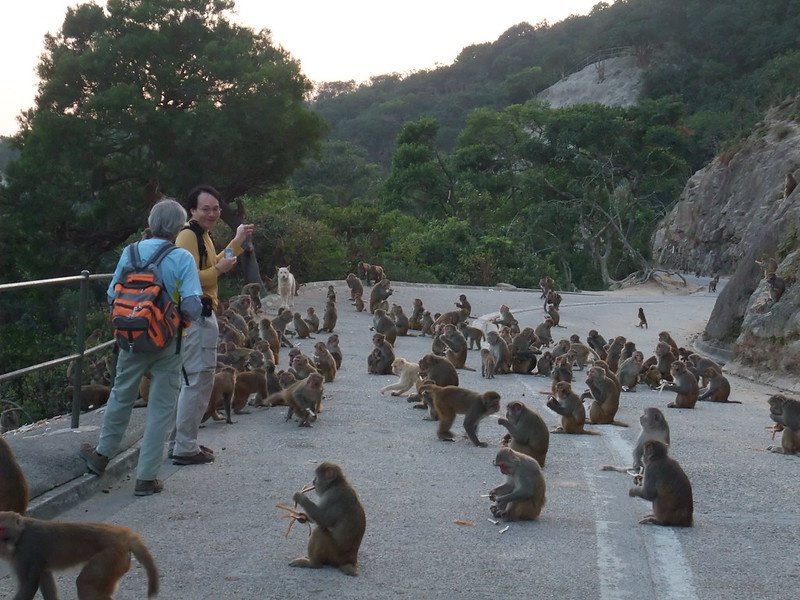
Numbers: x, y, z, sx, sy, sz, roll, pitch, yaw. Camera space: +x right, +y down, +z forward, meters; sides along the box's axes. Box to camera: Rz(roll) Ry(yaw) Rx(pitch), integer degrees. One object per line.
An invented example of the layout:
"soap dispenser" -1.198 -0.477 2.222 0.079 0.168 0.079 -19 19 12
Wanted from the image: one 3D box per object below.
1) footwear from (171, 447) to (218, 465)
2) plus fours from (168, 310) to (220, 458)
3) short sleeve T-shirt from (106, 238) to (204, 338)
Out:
"footwear" -2.337 1.797 7.507 0.459 0.237 0.189 -3 4 -12
"plus fours" -2.239 0.906 7.390 0.399 1.557 0.432 -1 -14 -17
"short sleeve T-shirt" -2.290 -0.284 6.878 1.191 1.241 0.701 4 1 8
